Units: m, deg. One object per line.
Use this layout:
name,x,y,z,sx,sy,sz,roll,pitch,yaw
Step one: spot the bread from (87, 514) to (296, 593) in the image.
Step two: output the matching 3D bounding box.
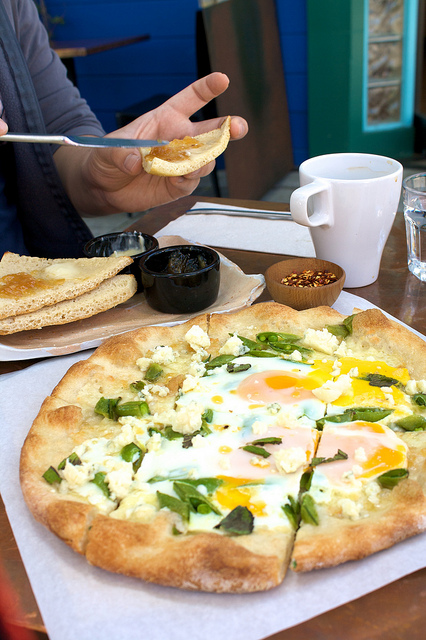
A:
bread,-0.025,0.227,0.529,0.203,0.036,0.071,-3,27,10

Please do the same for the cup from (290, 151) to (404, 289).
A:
cup,0.248,-0.181,1.091,0.179,0.225,0.262,19,36,40

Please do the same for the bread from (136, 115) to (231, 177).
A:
bread,-0.056,-0.390,1.227,0.243,0.092,0.226,-19,28,-20

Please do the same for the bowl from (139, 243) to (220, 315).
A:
bowl,-0.065,-0.078,1.100,0.159,0.090,0.149,-3,32,2

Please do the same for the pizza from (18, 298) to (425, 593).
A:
pizza,-0.001,0.107,0.757,0.572,0.053,0.575,3,28,23

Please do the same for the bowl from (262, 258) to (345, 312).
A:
bowl,0.199,-0.072,1.008,0.107,0.052,0.108,4,25,-2
